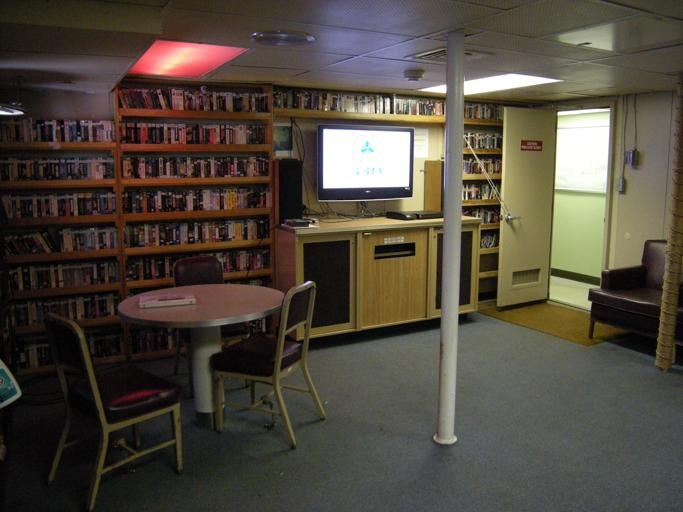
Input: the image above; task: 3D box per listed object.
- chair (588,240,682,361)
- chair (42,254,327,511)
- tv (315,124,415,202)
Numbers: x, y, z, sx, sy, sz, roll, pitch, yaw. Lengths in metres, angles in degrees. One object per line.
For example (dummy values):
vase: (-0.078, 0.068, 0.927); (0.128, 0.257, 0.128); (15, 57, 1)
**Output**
chair: (3.290, 0.438, 5.891); (0.888, 1.068, 1.200); (7, 16, 26)
chair: (-1.304, 1.022, 4.142); (0.490, 0.899, 1.516); (7, 10, 41)
tv: (0.233, -1.128, 6.215); (0.950, 0.683, 0.072); (-3, 7, -26)
